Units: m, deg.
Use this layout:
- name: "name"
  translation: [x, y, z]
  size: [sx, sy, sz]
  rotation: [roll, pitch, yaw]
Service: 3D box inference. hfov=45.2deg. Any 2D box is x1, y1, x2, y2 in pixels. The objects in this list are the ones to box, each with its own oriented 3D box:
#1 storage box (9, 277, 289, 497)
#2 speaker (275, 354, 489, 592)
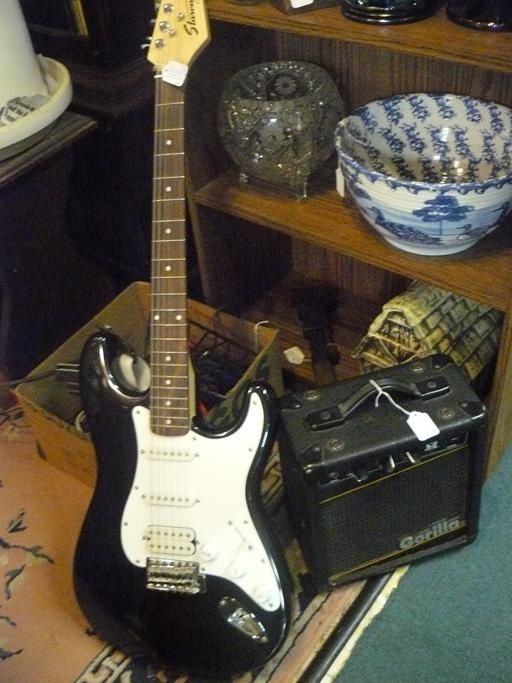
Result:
- name: "storage box"
  translation: [-0.175, 0.150, 1.404]
  size: [0.531, 0.313, 0.498]
  rotation: [22, 62, 26]
- name: "speaker"
  translation: [0.216, 0.214, 1.067]
  size: [0.317, 0.381, 0.212]
  rotation: [-13, 43, -8]
